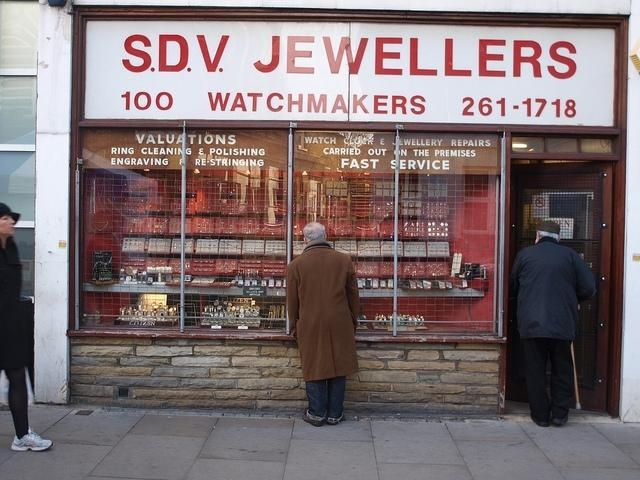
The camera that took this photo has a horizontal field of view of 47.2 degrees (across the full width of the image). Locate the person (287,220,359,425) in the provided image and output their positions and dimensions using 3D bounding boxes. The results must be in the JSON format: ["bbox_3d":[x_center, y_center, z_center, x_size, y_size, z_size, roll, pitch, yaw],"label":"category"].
[{"bbox_3d":[0.034,0.924,8.200,0.798,2.252,0.291,1,-1,0],"label":"person"}]

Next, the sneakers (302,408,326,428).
[{"bbox_3d":[-0.060,1.985,8.298,0.115,0.122,0.292,-1,4,-27],"label":"sneakers"}]

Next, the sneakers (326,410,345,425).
[{"bbox_3d":[0.165,1.968,8.271,0.166,0.096,0.277,0,-5,3],"label":"sneakers"}]

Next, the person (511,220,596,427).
[{"bbox_3d":[2.643,0.932,8.395,0.892,2.314,0.318,0,-1,13],"label":"person"}]
